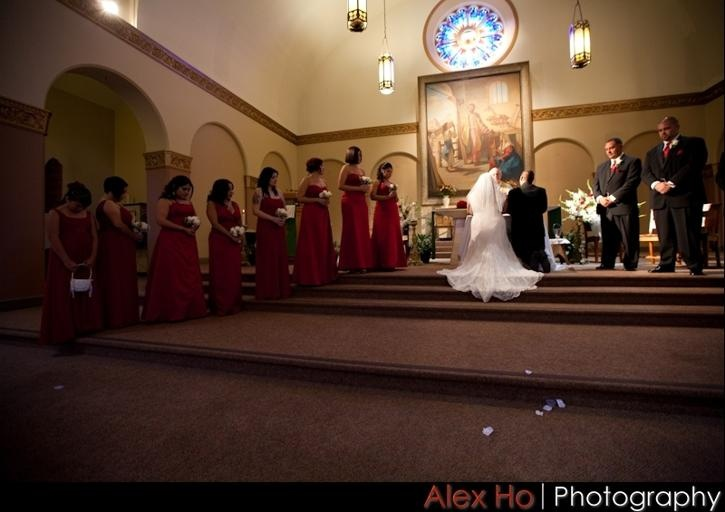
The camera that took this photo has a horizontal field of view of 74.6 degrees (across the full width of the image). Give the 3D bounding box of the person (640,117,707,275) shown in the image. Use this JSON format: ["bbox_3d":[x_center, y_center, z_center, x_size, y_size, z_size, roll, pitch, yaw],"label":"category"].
[{"bbox_3d":[4.291,-0.843,6.592,0.732,2.148,0.517,0,2,38],"label":"person"}]

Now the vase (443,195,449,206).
[{"bbox_3d":[2.157,-1.402,12.071,0.208,0.302,0.226,1,-1,0],"label":"vase"}]

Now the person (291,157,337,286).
[{"bbox_3d":[-0.733,-0.504,7.174,0.653,1.907,0.402,-1,2,-6],"label":"person"}]

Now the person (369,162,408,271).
[{"bbox_3d":[0.402,-0.656,7.959,0.526,1.776,0.474,-1,2,3],"label":"person"}]

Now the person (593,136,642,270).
[{"bbox_3d":[3.920,-0.810,7.336,0.630,2.011,0.549,0,2,29],"label":"person"}]

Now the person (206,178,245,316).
[{"bbox_3d":[-1.926,-0.135,6.680,0.477,1.862,0.411,-2,2,-21],"label":"person"}]

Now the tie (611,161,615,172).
[{"bbox_3d":[3.916,-1.382,7.439,0.032,0.137,0.038,8,8,8],"label":"tie"}]

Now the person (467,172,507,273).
[{"bbox_3d":[1.880,-0.677,7.309,0.603,1.359,0.606,-1,2,5],"label":"person"}]

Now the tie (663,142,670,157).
[{"bbox_3d":[4.227,-1.482,6.627,0.034,0.163,0.088,6,-4,-19],"label":"tie"}]

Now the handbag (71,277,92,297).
[{"bbox_3d":[-3.337,0.355,5.629,0.211,0.221,0.060,0,-5,-34],"label":"handbag"}]

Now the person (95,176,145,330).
[{"bbox_3d":[-3.108,-0.052,6.070,0.515,1.890,0.339,-2,2,-31],"label":"person"}]

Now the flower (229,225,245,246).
[{"bbox_3d":[-1.748,-0.289,6.627,0.185,0.239,0.178,-2,2,-17],"label":"flower"}]

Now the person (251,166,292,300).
[{"bbox_3d":[-1.313,-0.317,6.855,0.486,1.880,0.293,-1,2,-13],"label":"person"}]

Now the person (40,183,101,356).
[{"bbox_3d":[-3.467,0.162,5.639,0.611,1.970,0.278,-2,2,-39],"label":"person"}]

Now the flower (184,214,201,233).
[{"bbox_3d":[-2.248,-0.404,6.324,0.163,0.228,0.111,2,31,-12],"label":"flower"}]

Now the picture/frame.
[{"bbox_3d":[2.980,-3.231,12.113,3.756,5.108,0.201,-1,-2,21],"label":"picture/frame"}]

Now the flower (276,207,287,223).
[{"bbox_3d":[-1.158,-0.600,6.813,0.122,0.145,0.169,4,-9,-7],"label":"flower"}]

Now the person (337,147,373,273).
[{"bbox_3d":[-0.122,-0.727,7.665,0.544,2.008,0.588,-1,2,-2],"label":"person"}]

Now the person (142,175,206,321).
[{"bbox_3d":[-2.478,-0.091,6.265,0.680,1.885,0.277,-1,2,-10],"label":"person"}]

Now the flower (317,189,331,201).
[{"bbox_3d":[-0.558,-0.895,7.086,0.153,0.178,0.164,0,2,-8],"label":"flower"}]

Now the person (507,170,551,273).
[{"bbox_3d":[2.500,-0.532,7.192,0.621,1.528,0.465,0,2,20],"label":"person"}]

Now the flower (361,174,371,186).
[{"bbox_3d":[0.055,-1.199,7.626,0.127,0.160,0.437,-1,3,4],"label":"flower"}]
